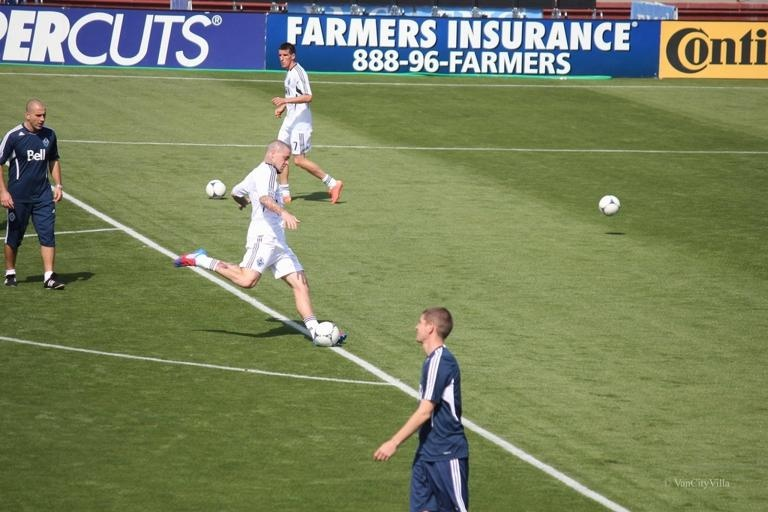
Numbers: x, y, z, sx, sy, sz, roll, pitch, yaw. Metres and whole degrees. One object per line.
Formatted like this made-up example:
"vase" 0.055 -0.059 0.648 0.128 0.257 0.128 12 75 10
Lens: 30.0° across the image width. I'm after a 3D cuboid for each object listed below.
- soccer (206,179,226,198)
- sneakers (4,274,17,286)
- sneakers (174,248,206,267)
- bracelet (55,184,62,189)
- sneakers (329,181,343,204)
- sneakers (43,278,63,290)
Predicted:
"soccer" -3.401 -1.324 29.191 0.419 0.333 0.381 -3 7 20
"sneakers" -6.328 0.435 24.472 0.122 0.105 0.275 -2 1 -29
"sneakers" -3.106 0.063 23.158 0.502 0.157 0.281 -14 1 6
"bracelet" -5.561 -1.162 24.667 0.097 0.047 0.103 -1 0 -13
"sneakers" -1.001 -1.272 29.018 0.244 0.475 0.263 24 41 25
"sneakers" -5.567 0.509 24.431 0.413 0.144 0.154 -2 -1 35
